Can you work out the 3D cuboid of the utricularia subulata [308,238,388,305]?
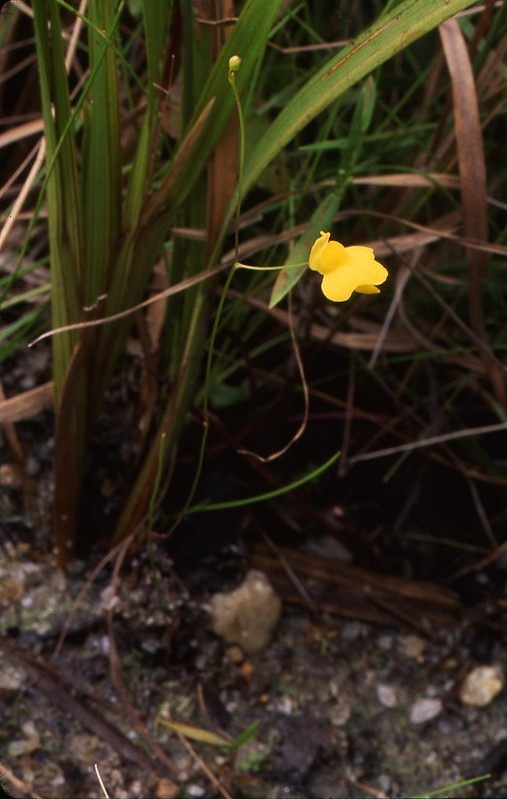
[{"bbox_3d":[0.096,-0.120,0.679,0.068,0.067,0.025,29,-1,20],"label":"utricularia subulata"}]
